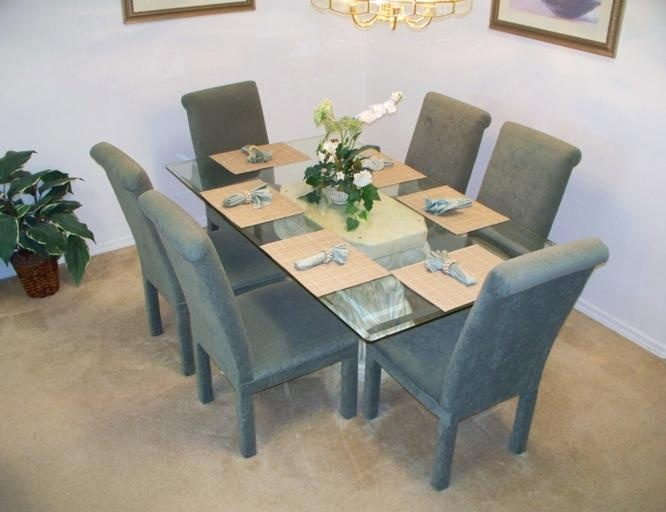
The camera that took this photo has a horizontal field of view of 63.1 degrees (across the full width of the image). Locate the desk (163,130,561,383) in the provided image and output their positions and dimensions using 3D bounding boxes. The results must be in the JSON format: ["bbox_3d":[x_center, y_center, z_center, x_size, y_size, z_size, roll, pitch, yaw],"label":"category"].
[{"bbox_3d":[-0.132,-0.385,2.861,1.513,1.001,1.564,-16,39,-21],"label":"desk"}]

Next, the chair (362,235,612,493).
[{"bbox_3d":[0.579,0.379,2.322,0.589,1.121,0.740,-16,29,-31],"label":"chair"}]

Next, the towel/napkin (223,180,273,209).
[{"bbox_3d":[-0.410,-0.282,2.637,0.180,0.063,0.116,-23,58,-23],"label":"towel/napkin"}]

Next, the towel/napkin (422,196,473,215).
[{"bbox_3d":[0.562,-0.264,2.613,0.264,0.068,0.098,-17,36,-25],"label":"towel/napkin"}]

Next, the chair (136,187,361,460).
[{"bbox_3d":[-0.328,0.273,2.485,0.682,1.205,0.822,26,37,38],"label":"chair"}]

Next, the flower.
[{"bbox_3d":[0.104,-0.469,2.578,0.438,0.583,0.429,-2,17,-4],"label":"flower"}]

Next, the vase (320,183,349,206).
[{"bbox_3d":[0.010,-0.306,2.611,0.098,0.070,0.091,18,30,33],"label":"vase"}]

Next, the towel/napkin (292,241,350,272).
[{"bbox_3d":[-0.045,0.009,2.222,0.172,0.077,0.109,-23,49,-19],"label":"towel/napkin"}]

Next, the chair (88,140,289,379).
[{"bbox_3d":[-0.729,0.038,2.741,0.877,1.288,0.665,-20,42,-27],"label":"chair"}]

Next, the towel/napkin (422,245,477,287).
[{"bbox_3d":[0.472,0.049,2.206,0.114,0.081,0.182,-6,34,-45],"label":"towel/napkin"}]

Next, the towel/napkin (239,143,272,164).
[{"bbox_3d":[-0.444,-0.574,3.111,0.134,0.066,0.158,-13,38,-26],"label":"towel/napkin"}]
